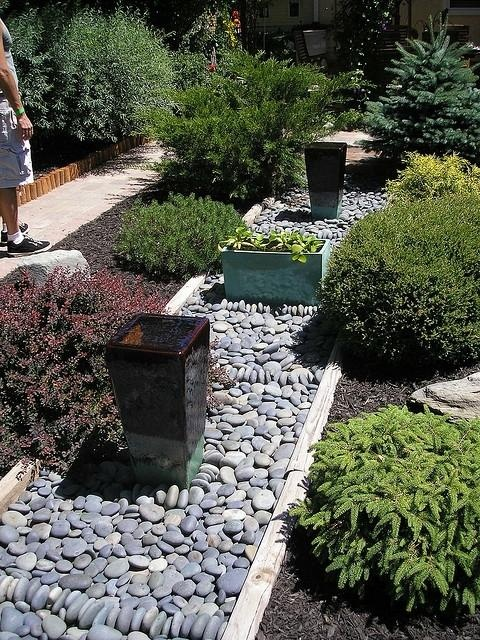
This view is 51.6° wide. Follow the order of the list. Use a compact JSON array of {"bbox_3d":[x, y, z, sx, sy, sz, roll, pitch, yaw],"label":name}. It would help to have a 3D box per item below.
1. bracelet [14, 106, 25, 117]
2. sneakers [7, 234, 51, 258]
[{"bbox_3d":[-1.854,-1.752,4.188,0.077,0.051,0.073,0,36,-3],"label":"bracelet"},{"bbox_3d":[-1.994,-0.710,4.713,0.413,0.163,0.157,-9,28,-19],"label":"sneakers"}]
